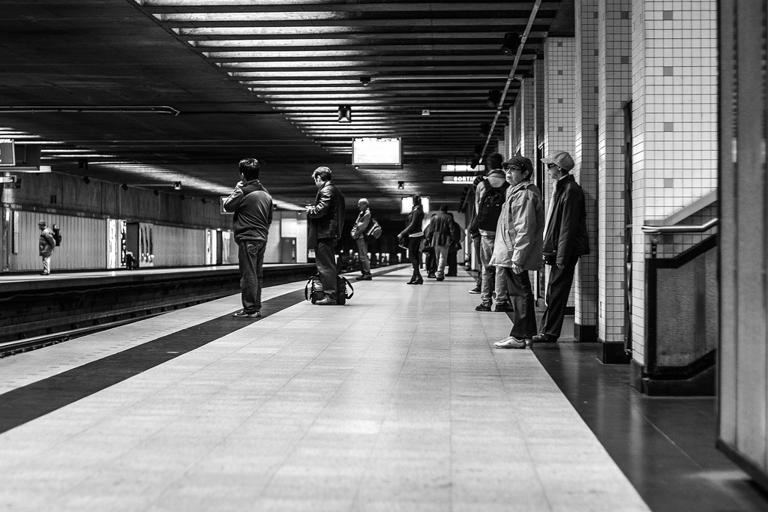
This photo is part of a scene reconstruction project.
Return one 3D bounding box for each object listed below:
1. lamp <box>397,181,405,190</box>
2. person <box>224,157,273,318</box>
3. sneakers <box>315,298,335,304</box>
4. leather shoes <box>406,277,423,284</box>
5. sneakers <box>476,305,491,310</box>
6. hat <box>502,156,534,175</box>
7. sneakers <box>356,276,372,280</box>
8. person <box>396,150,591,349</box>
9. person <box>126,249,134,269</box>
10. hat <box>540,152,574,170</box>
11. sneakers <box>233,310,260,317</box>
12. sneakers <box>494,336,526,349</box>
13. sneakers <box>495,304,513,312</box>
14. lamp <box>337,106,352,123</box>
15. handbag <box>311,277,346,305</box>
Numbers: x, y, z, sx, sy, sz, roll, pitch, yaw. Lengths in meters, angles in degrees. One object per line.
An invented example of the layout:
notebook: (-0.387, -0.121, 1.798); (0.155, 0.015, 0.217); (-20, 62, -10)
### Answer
lamp: (0.770, -3.197, 33.624); (0.289, 0.447, 0.278); (6, 13, 14)
person: (-1.862, -0.272, 10.300); (0.645, 2.197, 1.195); (-2, 4, -9)
sneakers: (-0.910, 0.753, 11.909); (0.173, 0.053, 0.173); (0, 0, 34)
leather shoes: (0.774, 0.618, 17.856); (0.413, 0.262, 0.147); (4, -2, 8)
sneakers: (1.509, 0.801, 11.211); (0.213, 0.090, 0.089); (2, -1, 1)
hat: (1.505, -1.014, 8.202); (0.281, 0.135, 0.196); (9, 0, -9)
sneakers: (-0.530, 0.619, 19.884); (0.342, 0.127, 0.133); (2, -1, 16)
person: (1.677, -0.069, 7.988); (0.989, 2.115, 0.695); (-1, 4, 4)
person: (-12.250, 0.188, 35.891); (0.385, 0.793, 1.421); (-2, 4, -17)
hat: (1.909, -1.048, 8.161); (0.317, 0.155, 0.210); (7, 9, 22)
sneakers: (-1.862, 0.816, 10.094); (0.327, 0.137, 0.117); (3, -1, 6)
sneakers: (1.350, 0.927, 7.835); (0.352, 0.131, 0.124); (2, -3, -1)
sneakers: (1.786, 0.781, 11.064); (0.231, 0.115, 0.145); (16, -2, 23)
lamp: (-0.837, -3.125, 16.345); (0.382, 0.356, 0.499); (0, 11, 4)
handbag: (-0.859, 0.589, 11.924); (0.397, 0.254, 0.541); (1, -1, 4)
